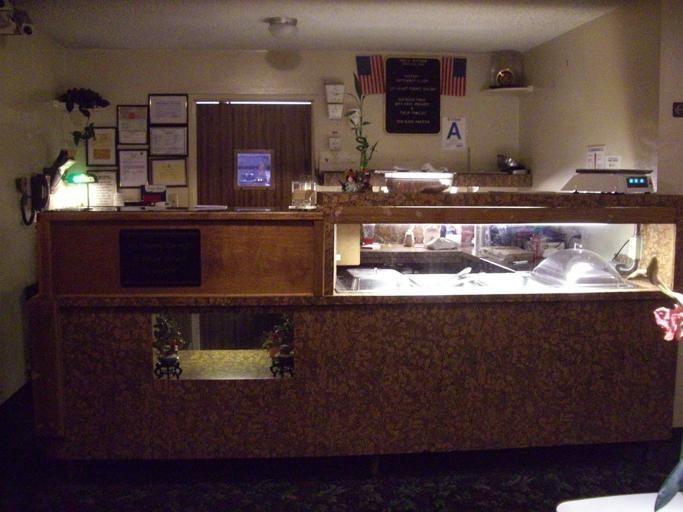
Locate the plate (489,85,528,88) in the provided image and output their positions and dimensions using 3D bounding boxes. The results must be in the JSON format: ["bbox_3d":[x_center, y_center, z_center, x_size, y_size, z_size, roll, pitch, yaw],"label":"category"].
[{"bbox_3d":[1.761,-1.784,6.467,0.388,0.053,0.340,3,17,12],"label":"plate"}]

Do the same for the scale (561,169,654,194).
[{"bbox_3d":[1.944,-0.544,4.475,0.590,0.175,0.274,6,17,22],"label":"scale"}]

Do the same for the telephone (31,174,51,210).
[{"bbox_3d":[-2.803,-0.608,5.726,0.104,0.329,0.301,-2,15,-6],"label":"telephone"}]

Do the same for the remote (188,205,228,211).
[{"bbox_3d":[-0.896,-0.320,4.112,0.223,0.020,0.185,-6,17,-19],"label":"remote"}]

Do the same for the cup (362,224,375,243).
[{"bbox_3d":[0.269,-0.224,6.177,0.152,0.199,0.092,4,15,15],"label":"cup"}]

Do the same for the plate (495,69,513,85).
[{"bbox_3d":[1.737,-1.902,6.534,0.189,0.163,0.125,3,15,13],"label":"plate"}]

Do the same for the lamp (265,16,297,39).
[{"bbox_3d":[-0.558,-2.086,5.599,0.313,0.171,0.265,-1,16,-1],"label":"lamp"}]

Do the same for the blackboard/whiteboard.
[{"bbox_3d":[0.739,-1.772,6.607,0.797,1.046,0.105,0,7,-2],"label":"blackboard/whiteboard"}]

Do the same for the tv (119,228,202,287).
[{"bbox_3d":[-1.224,-0.020,4.196,0.709,0.483,0.408,1,10,-11],"label":"tv"}]

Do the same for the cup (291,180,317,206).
[{"bbox_3d":[-0.279,-0.461,4.577,0.197,0.203,0.205,1,11,0],"label":"cup"}]

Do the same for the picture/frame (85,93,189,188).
[{"bbox_3d":[-2.039,-1.231,6.607,0.799,0.988,0.166,0,14,3],"label":"picture/frame"}]

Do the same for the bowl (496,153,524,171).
[{"bbox_3d":[1.822,-0.976,6.591,0.231,0.160,0.197,13,10,-17],"label":"bowl"}]

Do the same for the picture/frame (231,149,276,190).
[{"bbox_3d":[-0.983,-0.960,6.695,0.417,0.418,0.041,1,2,-4],"label":"picture/frame"}]
